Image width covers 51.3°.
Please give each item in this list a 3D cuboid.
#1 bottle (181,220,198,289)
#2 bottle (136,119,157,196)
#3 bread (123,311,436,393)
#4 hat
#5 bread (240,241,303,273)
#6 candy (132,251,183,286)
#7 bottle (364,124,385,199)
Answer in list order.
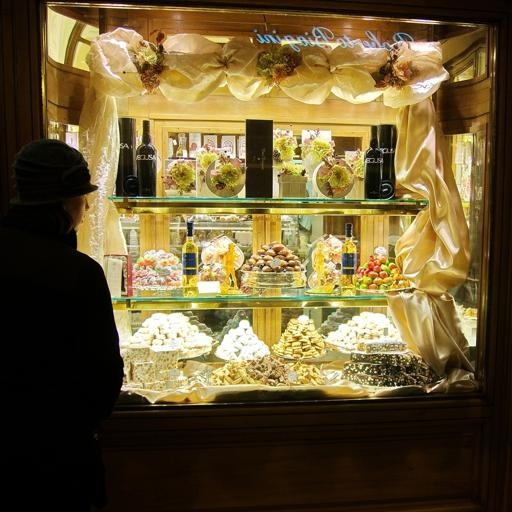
[{"bbox_3d":[-0.336,-0.001,2.668,0.079,0.342,0.162,-1,6,-7],"label":"bottle"},{"bbox_3d":[-0.557,-0.488,2.692,0.104,0.375,0.134,-2,6,-12],"label":"bottle"},{"bbox_3d":[0.077,0.485,2.804,1.541,0.325,0.762,-1,6,-6],"label":"bread"},{"bbox_3d":[-0.642,-0.269,1.686,0.212,0.137,0.204,4,17,24],"label":"hat"},{"bbox_3d":[0.081,0.036,2.715,0.186,0.086,0.196,-4,-6,41],"label":"bread"},{"bbox_3d":[-0.516,0.064,2.771,0.249,0.165,0.236,-1,6,-11],"label":"candy"},{"bbox_3d":[0.616,-0.490,2.799,0.088,0.375,0.051,1,6,9],"label":"bottle"}]
